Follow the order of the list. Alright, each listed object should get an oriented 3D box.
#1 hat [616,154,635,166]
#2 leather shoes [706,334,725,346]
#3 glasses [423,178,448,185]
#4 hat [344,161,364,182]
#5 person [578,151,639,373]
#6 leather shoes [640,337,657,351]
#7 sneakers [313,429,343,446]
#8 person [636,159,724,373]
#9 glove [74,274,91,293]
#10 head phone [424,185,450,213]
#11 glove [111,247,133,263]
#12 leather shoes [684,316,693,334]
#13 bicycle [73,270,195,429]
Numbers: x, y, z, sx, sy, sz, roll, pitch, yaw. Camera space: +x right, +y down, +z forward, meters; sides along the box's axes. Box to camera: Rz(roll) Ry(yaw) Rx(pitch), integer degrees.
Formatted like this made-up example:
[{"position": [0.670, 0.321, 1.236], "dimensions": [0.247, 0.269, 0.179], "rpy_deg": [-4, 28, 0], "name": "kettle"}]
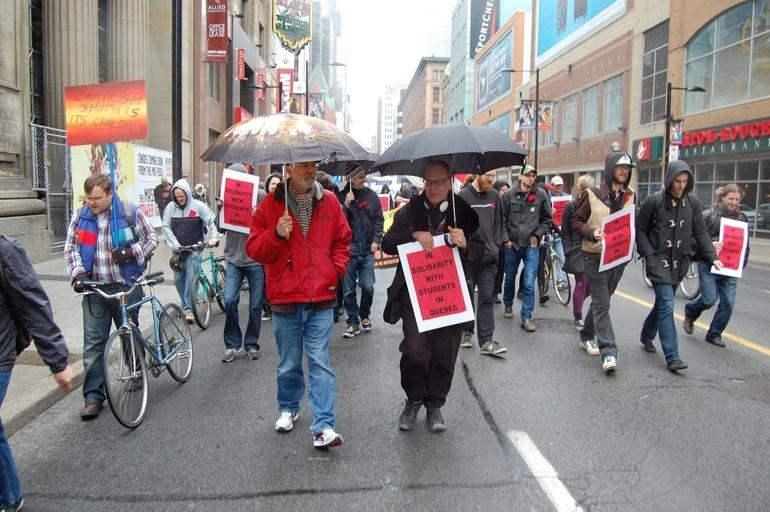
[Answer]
[{"position": [3.216, -1.289, 7.636], "dimensions": [0.247, 0.149, 0.148], "rpy_deg": [-7, 12, -30], "name": "hat"}, {"position": [4.958, 1.255, 8.610], "dimensions": [0.221, 0.108, 0.123], "rpy_deg": [7, 3, 42], "name": "leather shoes"}, {"position": [0.532, -0.781, 5.990], "dimensions": [0.259, 0.092, 0.111], "rpy_deg": [2, 11, 12], "name": "glasses"}, {"position": [-0.500, -1.354, 9.089], "dimensions": [0.227, 0.175, 0.200], "rpy_deg": [-31, 5, 12], "name": "hat"}, {"position": [2.935, 0.019, 7.820], "dimensions": [0.749, 2.838, 1.175], "rpy_deg": [4, 11, 24], "name": "person"}, {"position": [3.829, 1.293, 8.343], "dimensions": [0.092, 0.128, 0.278], "rpy_deg": [-3, 1, 1], "name": "leather shoes"}, {"position": [-0.557, 1.772, 5.589], "dimensions": [0.317, 0.176, 0.129], "rpy_deg": [-20, -20, 37], "name": "sneakers"}, {"position": [3.935, 0.075, 7.661], "dimensions": [0.943, 2.670, 0.783], "rpy_deg": [-4, 10, -19], "name": "person"}, {"position": [-3.302, 0.280, 6.229], "dimensions": [0.177, 0.209, 0.075], "rpy_deg": [1, -11, -1], "name": "glove"}, {"position": [0.549, -0.615, 6.048], "dimensions": [0.204, 0.308, 0.109], "rpy_deg": [5, 25, 13], "name": "head phone"}, {"position": [-2.932, -0.012, 6.399], "dimensions": [0.237, 0.191, 0.138], "rpy_deg": [-4, 11, -21], "name": "glove"}, {"position": [4.864, 1.110, 9.170], "dimensions": [0.100, 0.323, 0.124], "rpy_deg": [-4, -3, 11], "name": "leather shoes"}, {"position": [-2.755, 1.119, 6.507], "dimensions": [0.839, 1.357, 1.953], "rpy_deg": [-8, -1, 6], "name": "bicycle"}]
